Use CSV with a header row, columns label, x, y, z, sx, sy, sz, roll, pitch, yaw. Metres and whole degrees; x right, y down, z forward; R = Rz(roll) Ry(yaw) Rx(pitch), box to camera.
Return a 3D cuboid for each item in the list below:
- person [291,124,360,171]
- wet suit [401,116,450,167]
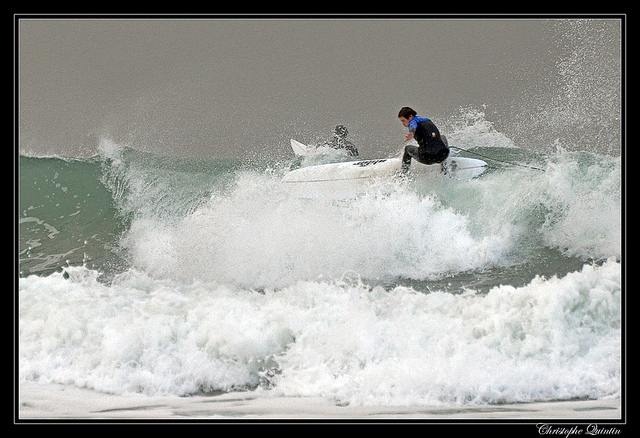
label,x,y,z,sx,sy,sz,roll,pitch,yaw
person,0.150,-1.696,22.435,1.622,1.063,0.551,-41,-6,32
wet suit,2.291,-1.712,19.042,0.941,0.926,1.195,-8,-3,5
